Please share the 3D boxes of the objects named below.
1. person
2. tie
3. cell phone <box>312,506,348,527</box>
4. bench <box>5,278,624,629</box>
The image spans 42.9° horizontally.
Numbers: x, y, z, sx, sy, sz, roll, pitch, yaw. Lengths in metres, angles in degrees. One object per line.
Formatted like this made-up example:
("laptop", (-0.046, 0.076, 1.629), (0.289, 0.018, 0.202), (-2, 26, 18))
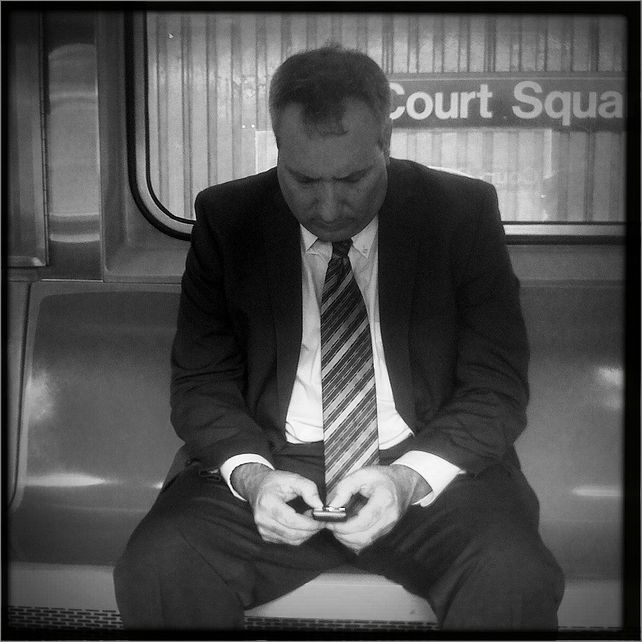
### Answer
("person", (0.060, 0.016, 2.005), (0.848, 1.857, 1.054), (0, 2, 1))
("tie", (0.055, 0.103, 1.620), (0.108, 0.442, 0.127), (0, 9, 0))
("cell phone", (0.017, 0.362, 1.522), (0.065, 0.034, 0.046), (0, 10, 1))
("bench", (-0.205, 0.363, 2.385), (1.334, 0.703, 0.591), (-1, -7, 6))
